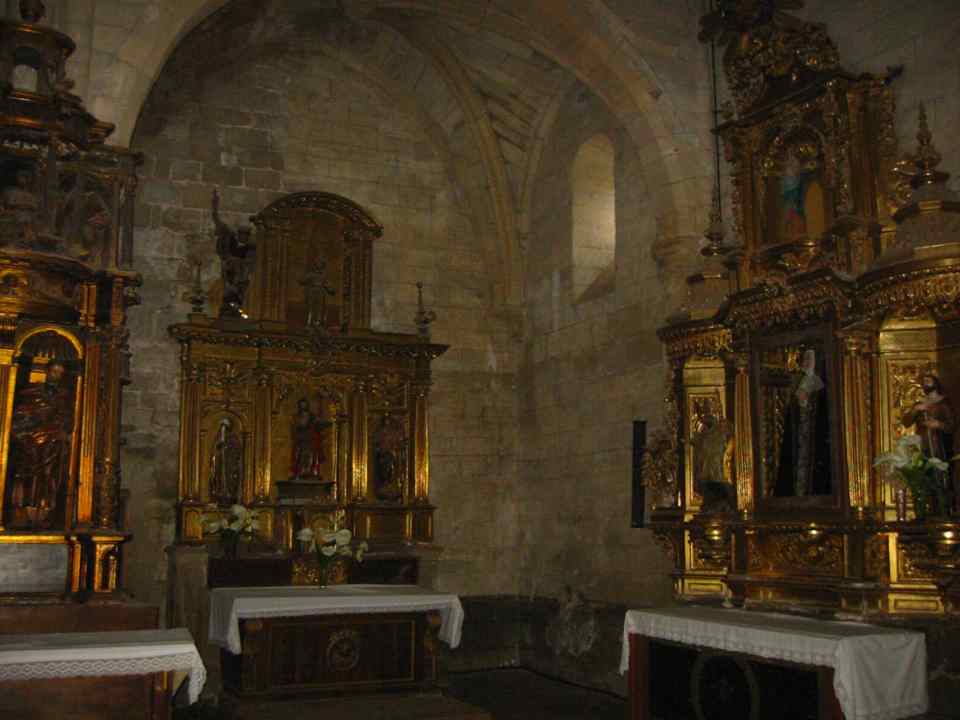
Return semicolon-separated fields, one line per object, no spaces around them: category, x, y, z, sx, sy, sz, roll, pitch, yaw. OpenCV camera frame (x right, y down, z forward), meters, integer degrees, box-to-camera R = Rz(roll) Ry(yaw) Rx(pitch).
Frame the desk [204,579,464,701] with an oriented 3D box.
desk;-1.260;2.389;10.423;1.976;0.909;0.897;5;-12;-21

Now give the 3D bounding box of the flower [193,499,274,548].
flower;-2.522;1.697;12.388;0.585;0.305;0.570;6;-11;-40

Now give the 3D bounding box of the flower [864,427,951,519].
flower;3.321;0.869;9.203;0.626;0.576;0.564;5;-19;-3
